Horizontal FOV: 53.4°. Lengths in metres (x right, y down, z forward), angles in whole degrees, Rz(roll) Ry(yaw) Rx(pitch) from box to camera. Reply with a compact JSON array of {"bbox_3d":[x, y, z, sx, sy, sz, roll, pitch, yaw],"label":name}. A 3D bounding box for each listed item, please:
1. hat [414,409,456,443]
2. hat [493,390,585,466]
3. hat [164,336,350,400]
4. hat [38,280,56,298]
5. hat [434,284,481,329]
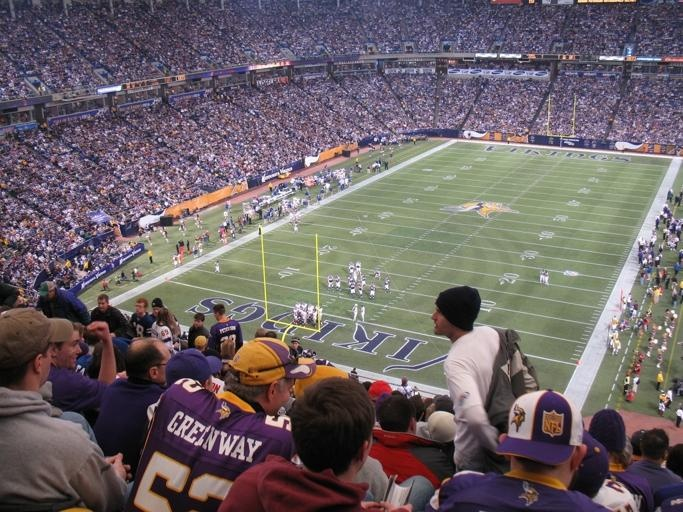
[{"bbox_3d":[0.966,1.738,6.878,0.341,0.328,0.817,16,-16,3],"label":"hat"},{"bbox_3d":[1.511,1.246,5.131,0.579,0.330,0.840,1,8,35],"label":"hat"},{"bbox_3d":[-0.563,1.092,5.989,1.298,0.461,0.793,5,5,-21],"label":"hat"},{"bbox_3d":[-5.036,0.527,11.575,0.231,0.303,0.174,7,-49,8],"label":"hat"},{"bbox_3d":[1.128,0.483,6.533,0.412,0.457,0.292,15,-17,7],"label":"hat"}]
